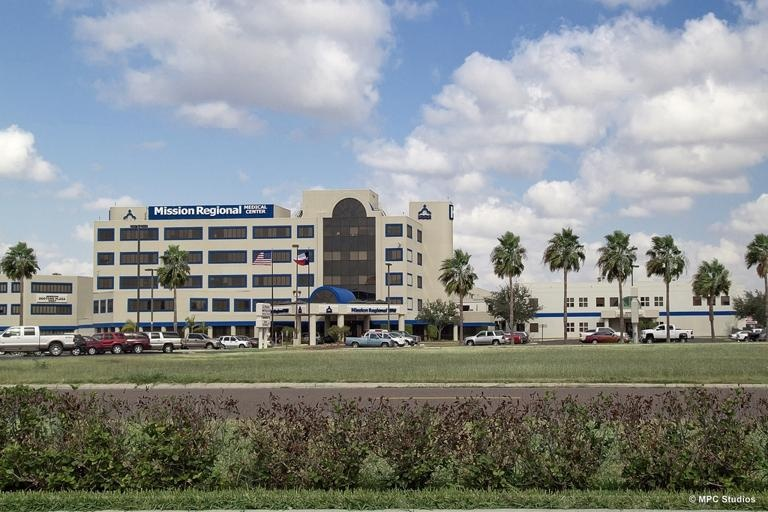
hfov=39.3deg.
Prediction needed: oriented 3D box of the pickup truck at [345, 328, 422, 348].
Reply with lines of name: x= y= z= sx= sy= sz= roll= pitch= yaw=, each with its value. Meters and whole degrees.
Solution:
pickup truck: x=-0.220 y=7.677 z=100.095 sx=6.998 sy=1.459 sz=4.072 roll=0 pitch=0 yaw=-29

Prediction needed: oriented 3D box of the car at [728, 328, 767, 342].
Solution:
car: x=38.778 y=8.346 z=114.161 sx=2.140 sy=1.054 sz=5.886 roll=0 pitch=0 yaw=2

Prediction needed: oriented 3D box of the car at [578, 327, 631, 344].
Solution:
car: x=22.312 y=8.167 z=108.734 sx=4.282 sy=1.329 sz=1.995 roll=-2 pitch=-1 yaw=7

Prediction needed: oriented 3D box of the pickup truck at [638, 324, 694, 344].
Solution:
pickup truck: x=29.495 y=7.814 z=110.861 sx=5.731 sy=1.962 sz=2.378 roll=2 pitch=-5 yaw=0
